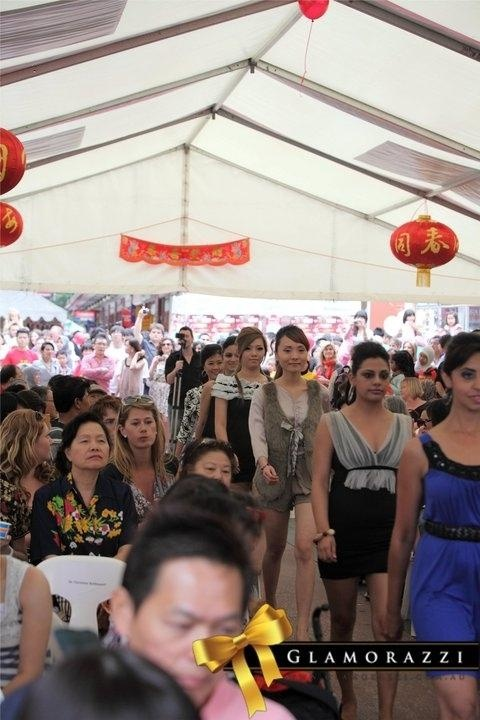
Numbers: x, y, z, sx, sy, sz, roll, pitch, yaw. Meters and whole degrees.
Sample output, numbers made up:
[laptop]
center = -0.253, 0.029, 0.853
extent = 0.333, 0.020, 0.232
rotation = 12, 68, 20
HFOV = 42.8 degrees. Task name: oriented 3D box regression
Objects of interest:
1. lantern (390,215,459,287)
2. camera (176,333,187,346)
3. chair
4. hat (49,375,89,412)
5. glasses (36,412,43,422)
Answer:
[lantern]
center = 2.149, -1.295, 7.856
extent = 0.922, 0.928, 0.875
rotation = 0, -6, 4
[camera]
center = -0.847, -0.290, 8.899
extent = 0.144, 0.178, 0.079
rotation = 6, 2, 18
[chair]
center = -0.718, 1.087, 2.699
extent = 0.390, 0.379, 0.396
rotation = -9, -26, 19
[hat]
center = -1.427, 0.255, 5.094
extent = 0.272, 0.289, 0.321
rotation = 9, 16, 24
[glasses]
center = -1.230, 0.350, 3.763
extent = 0.042, 0.043, 0.049
rotation = 3, -15, -17
